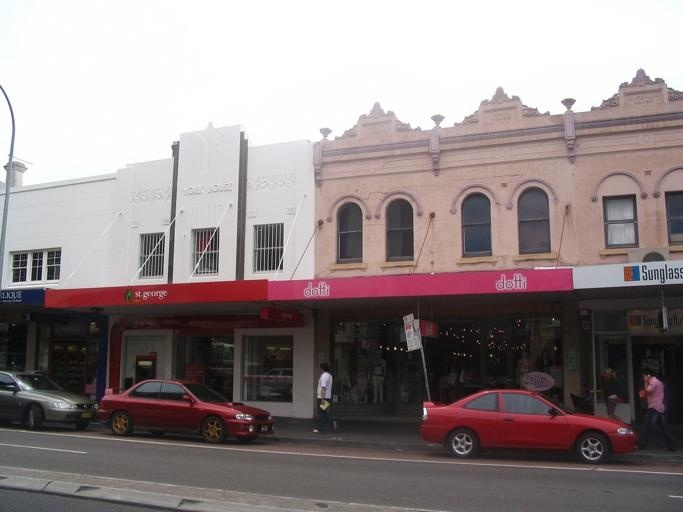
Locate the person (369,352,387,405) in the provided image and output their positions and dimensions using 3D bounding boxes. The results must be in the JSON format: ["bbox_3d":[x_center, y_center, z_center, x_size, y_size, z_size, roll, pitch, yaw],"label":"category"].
[{"bbox_3d":[1.239,4.077,23.884,0.523,1.651,0.297,-2,-14,9],"label":"person"}]
